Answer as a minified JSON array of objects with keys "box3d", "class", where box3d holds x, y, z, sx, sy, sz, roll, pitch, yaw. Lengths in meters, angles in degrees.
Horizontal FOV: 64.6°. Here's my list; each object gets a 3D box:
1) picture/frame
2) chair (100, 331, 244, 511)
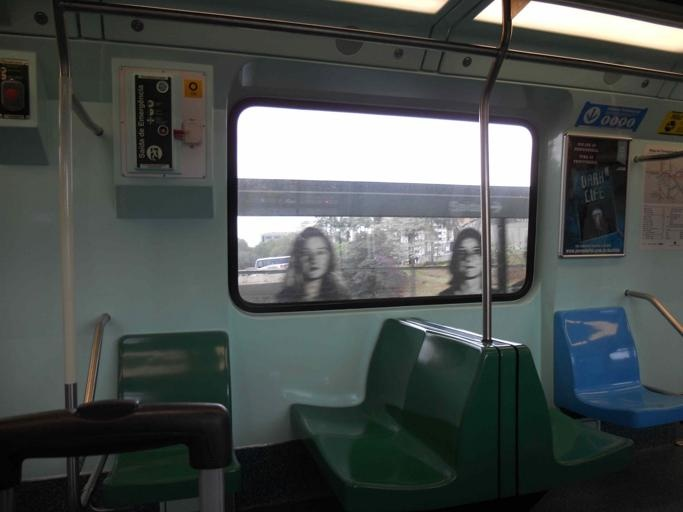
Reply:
[{"box3d":[1.654,-0.400,3.536,0.559,0.789,0.131,-6,10,-27],"class":"picture/frame"},{"box3d":[-0.715,0.746,2.806,0.766,0.860,0.859,2,-10,-17],"class":"chair"}]
